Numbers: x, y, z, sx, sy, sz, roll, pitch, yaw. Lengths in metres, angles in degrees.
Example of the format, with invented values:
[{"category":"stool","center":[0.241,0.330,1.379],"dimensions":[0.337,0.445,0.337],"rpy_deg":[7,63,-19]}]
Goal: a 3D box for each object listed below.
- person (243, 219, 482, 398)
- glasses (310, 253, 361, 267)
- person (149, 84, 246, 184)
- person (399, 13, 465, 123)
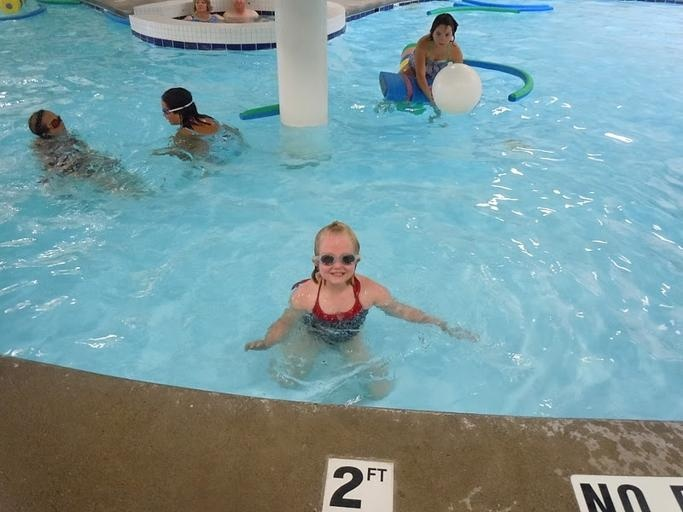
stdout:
[{"category":"person","center":[0.083,0.363,3.527],"dimensions":[1.650,0.880,0.616],"rpy_deg":[2,3,-28]},{"category":"glasses","center":[-0.030,0.034,3.312],"dimensions":[0.272,0.120,0.082],"rpy_deg":[2,44,-2]},{"category":"person","center":[-1.337,-1.283,5.443],"dimensions":[0.747,0.679,0.820],"rpy_deg":[33,49,28]},{"category":"person","center":[1.116,-2.387,6.772],"dimensions":[0.558,0.974,0.683],"rpy_deg":[18,45,13]}]
